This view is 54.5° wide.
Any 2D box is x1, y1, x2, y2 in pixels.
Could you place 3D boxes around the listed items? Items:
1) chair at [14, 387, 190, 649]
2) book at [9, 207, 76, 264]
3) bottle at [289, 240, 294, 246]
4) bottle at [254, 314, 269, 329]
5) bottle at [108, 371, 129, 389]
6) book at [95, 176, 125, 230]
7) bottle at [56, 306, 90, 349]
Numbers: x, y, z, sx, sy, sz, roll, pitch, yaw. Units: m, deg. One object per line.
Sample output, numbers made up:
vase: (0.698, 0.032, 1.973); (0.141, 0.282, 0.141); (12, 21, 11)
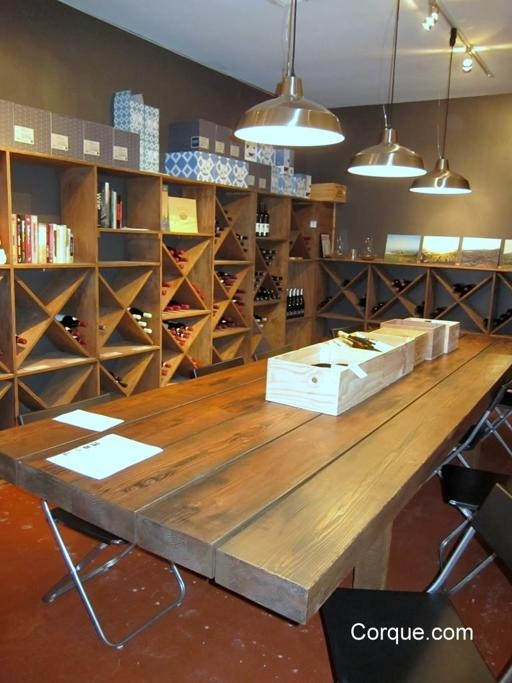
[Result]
chair: (-0.524, 0.662, 2.253); (0.806, 1.100, 0.661); (5, 6, 39)
book: (-1.303, -0.623, 3.067); (0.104, 0.280, 0.491); (4, 8, 19)
bottle: (0.408, -1.154, 5.783); (0.014, 0.054, 0.059); (-1, 5, -42)
bottle: (0.053, -0.223, 5.473); (0.126, 0.167, 0.056); (23, 8, -30)
bottle: (-1.055, 0.297, 3.818); (0.037, 0.163, 0.047); (-26, 29, 36)
book: (-1.045, -0.971, 3.552); (0.171, 0.341, 0.265); (-1, 8, -17)
bottle: (-1.300, -0.140, 3.504); (0.118, 0.199, 0.385); (-24, 55, -36)
